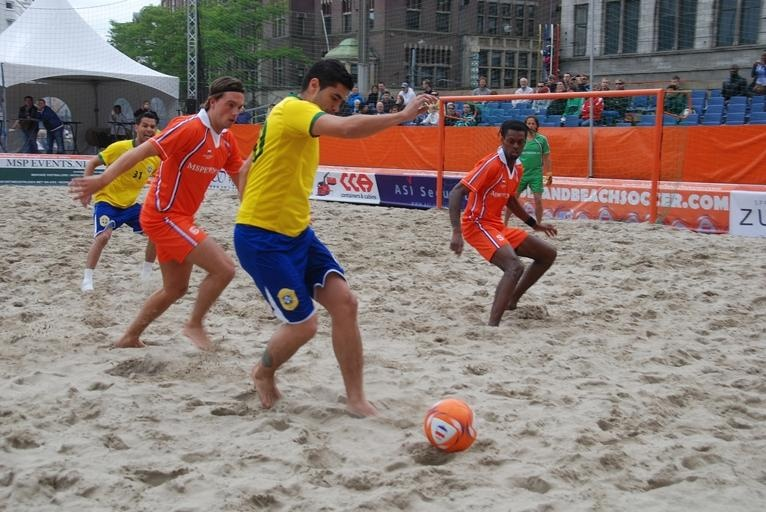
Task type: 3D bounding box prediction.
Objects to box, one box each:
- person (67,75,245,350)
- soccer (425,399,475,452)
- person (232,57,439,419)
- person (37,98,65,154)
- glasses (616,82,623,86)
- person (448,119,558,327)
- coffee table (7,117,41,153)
[{"bbox_3d":[-1.779,-0.334,7.076,1.239,2.366,0.710,-3,10,-22],"label":"person"},{"bbox_3d":[0.503,1.261,6.147,0.380,0.372,0.189,2,9,5],"label":"soccer"},{"bbox_3d":[-0.521,0.029,6.353,1.204,2.434,0.380,4,10,18],"label":"person"},{"bbox_3d":[-7.639,-2.970,19.031,0.520,1.231,1.121,-3,10,-22],"label":"person"},{"bbox_3d":[4.432,-3.194,15.424,0.102,0.092,0.030,6,18,21],"label":"glasses"},{"bbox_3d":[1.185,-0.333,8.142,1.038,1.973,0.847,3,10,9],"label":"person"},{"bbox_3d":[-7.962,-2.786,18.638,0.745,0.947,0.732,11,13,41],"label":"coffee table"}]
